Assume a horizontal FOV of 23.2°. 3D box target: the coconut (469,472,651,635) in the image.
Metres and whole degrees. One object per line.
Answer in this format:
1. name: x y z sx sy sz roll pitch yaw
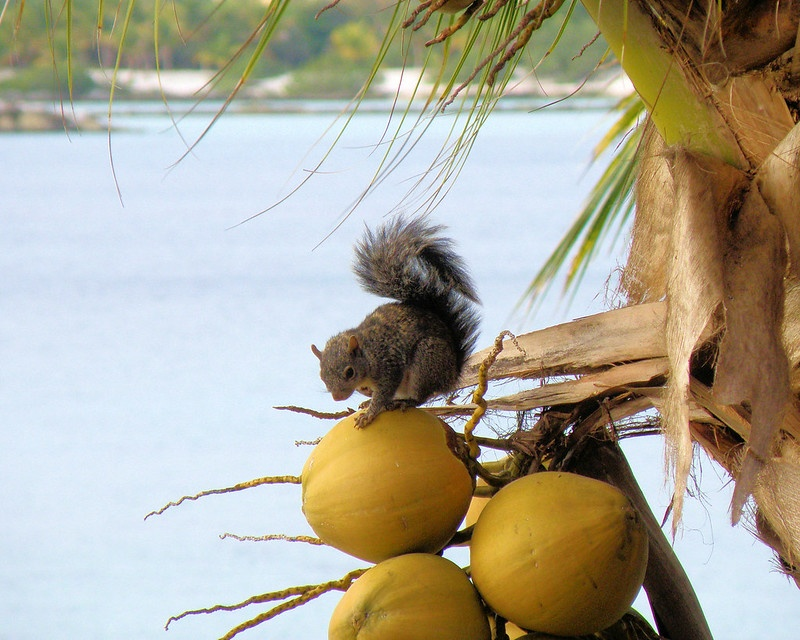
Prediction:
1. coconut: 0.670 0.909 7.947 0.574 0.635 0.521 0 2 4
